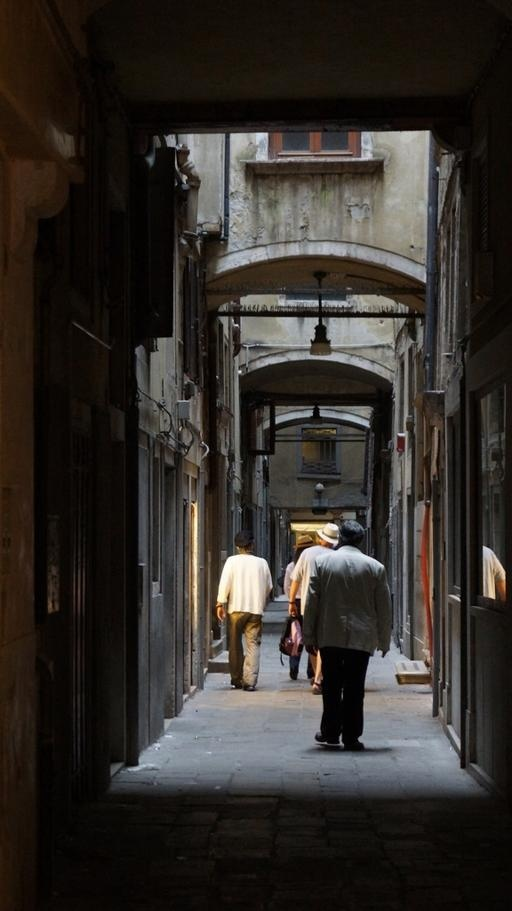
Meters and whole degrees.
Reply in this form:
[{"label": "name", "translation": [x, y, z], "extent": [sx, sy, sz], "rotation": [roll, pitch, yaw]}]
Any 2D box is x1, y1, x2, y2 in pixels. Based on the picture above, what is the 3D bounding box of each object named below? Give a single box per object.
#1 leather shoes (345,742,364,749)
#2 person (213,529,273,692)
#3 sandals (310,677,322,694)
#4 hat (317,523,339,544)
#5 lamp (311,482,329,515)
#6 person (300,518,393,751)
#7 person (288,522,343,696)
[{"label": "leather shoes", "translation": [0.666, 1.978, 8.120], "extent": [0.128, 0.063, 0.068], "rotation": [2, -4, 4]}, {"label": "person", "translation": [-0.136, 1.680, 13.064], "extent": [0.577, 1.684, 1.399], "rotation": [1, -4, -1]}, {"label": "sandals", "translation": [0.608, 2.358, 12.147], "extent": [0.101, 0.177, 0.351], "rotation": [1, 0, 5]}, {"label": "hat", "translation": [0.726, 0.754, 11.924], "extent": [0.146, 0.101, 0.250], "rotation": [5, 43, -24]}, {"label": "lamp", "translation": [2.768, 1.879, 51.611], "extent": [0.674, 2.469, 0.961], "rotation": [1, -3, -3]}, {"label": "person", "translation": [0.640, 1.150, 8.404], "extent": [0.458, 2.016, 0.471], "rotation": [-3, 30, -3]}, {"label": "person", "translation": [0.627, 1.527, 12.511], "extent": [0.394, 1.952, 0.452], "rotation": [4, 21, 3]}]
